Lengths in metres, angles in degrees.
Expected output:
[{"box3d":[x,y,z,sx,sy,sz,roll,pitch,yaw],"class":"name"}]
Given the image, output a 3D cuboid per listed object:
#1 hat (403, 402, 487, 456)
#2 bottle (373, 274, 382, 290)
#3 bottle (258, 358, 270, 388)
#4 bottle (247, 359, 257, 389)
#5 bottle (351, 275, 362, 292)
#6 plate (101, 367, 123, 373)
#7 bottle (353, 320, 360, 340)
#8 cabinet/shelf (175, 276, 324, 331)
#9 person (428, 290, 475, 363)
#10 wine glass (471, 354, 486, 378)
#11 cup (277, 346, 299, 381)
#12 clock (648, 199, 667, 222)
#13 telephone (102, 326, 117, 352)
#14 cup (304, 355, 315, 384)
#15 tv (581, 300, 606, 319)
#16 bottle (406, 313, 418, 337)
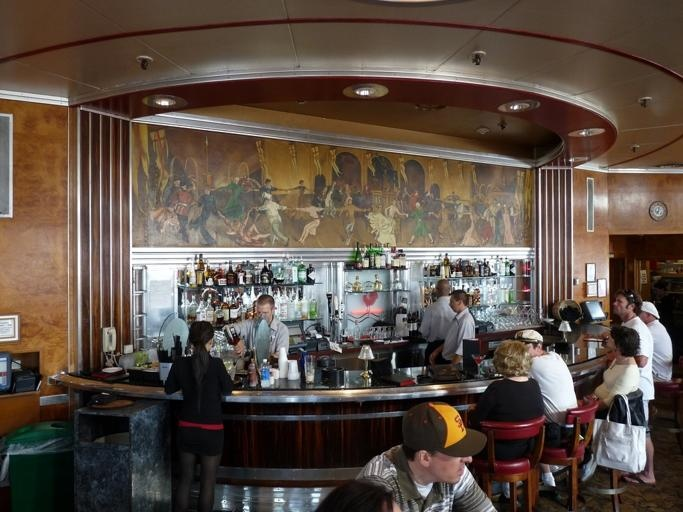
[{"box3d":[0.676,1.142,3.828,0.484,0.248,0.312,-3,-1,8],"class":"hat"},{"box3d":[0.578,0.416,9.231,0.117,0.255,0.167,0,-2,4],"class":"bottle"},{"box3d":[-0.790,1.197,5.935,0.119,0.260,0.277,0,-2,-8],"class":"bottle"},{"box3d":[-0.914,1.204,5.911,0.096,0.242,0.209,0,-2,-10],"class":"bottle"},{"box3d":[0.231,0.423,8.959,0.199,0.336,0.197,0,-8,0],"class":"bottle"},{"box3d":[-2.559,1.261,6.413,0.213,0.034,0.342,1,-2,-25],"class":"plate"},{"box3d":[0.222,1.141,8.969,0.146,0.279,0.275,0,-2,2],"class":"bottle"},{"box3d":[-1.311,0.893,8.310,2.079,1.084,0.493,2,8,7],"class":"cabinet/shelf"},{"box3d":[1.500,1.001,7.777,0.511,1.082,1.395,0,-2,3],"class":"person"},{"box3d":[1.518,1.214,6.377,0.170,0.212,0.166,-3,-4,43],"class":"wine glass"},{"box3d":[-0.564,1.138,6.121,0.225,0.324,0.265,0,-2,-7],"class":"cup"},{"box3d":[6.471,-0.923,11.770,0.435,0.430,0.093,1,-2,-16],"class":"clock"},{"box3d":[-2.774,0.992,6.854,0.106,0.295,0.132,-2,-3,40],"class":"telephone"},{"box3d":[-0.339,1.172,6.053,0.114,0.285,0.228,0,-2,-4],"class":"cup"},{"box3d":[4.730,1.026,10.828,0.456,0.347,0.287,1,-3,-31],"class":"tv"},{"box3d":[1.150,1.097,9.260,0.183,0.371,0.457,0,-2,7],"class":"bottle"}]
